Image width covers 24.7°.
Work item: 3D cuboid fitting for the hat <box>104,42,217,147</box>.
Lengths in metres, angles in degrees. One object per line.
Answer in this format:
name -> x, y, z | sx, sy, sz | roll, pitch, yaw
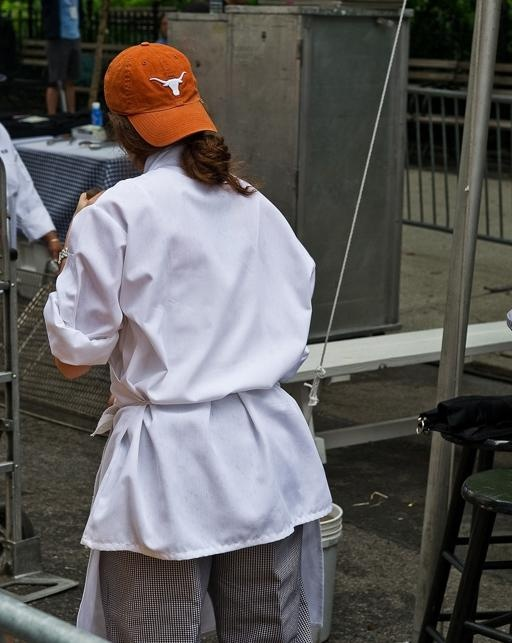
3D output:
hat -> -0.239, -0.532, 2.734 | 0.185, 0.156, 0.295 | -21, 48, -29
